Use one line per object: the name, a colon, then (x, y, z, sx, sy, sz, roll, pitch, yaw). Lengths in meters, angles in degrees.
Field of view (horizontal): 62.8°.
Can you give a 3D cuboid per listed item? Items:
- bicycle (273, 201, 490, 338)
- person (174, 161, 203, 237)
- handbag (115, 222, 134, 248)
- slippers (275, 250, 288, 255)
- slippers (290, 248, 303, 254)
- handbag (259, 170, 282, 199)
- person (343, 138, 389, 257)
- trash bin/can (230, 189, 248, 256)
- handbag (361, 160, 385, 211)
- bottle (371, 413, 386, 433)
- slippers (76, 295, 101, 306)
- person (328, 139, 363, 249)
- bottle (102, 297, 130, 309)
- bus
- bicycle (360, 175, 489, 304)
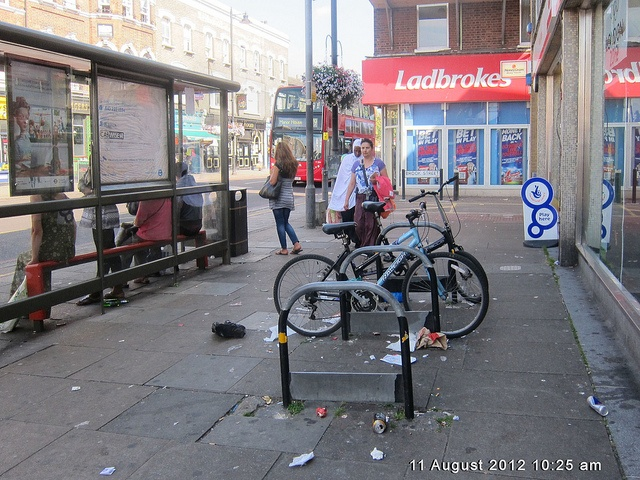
bicycle: (0.652, 0.363, 5.609, 2.275, 1.453, 1.137, -1, 16, 3)
person: (-2.172, -0.687, 8.715, 0.464, 1.223, 0.268, -6, 10, -27)
handbag: (-2.982, -0.065, 8.022, 0.261, 0.392, 0.149, 3, -7, 11)
slippers: (-0.747, 0.214, 10.126, 0.180, 0.079, 0.106, 4, 3, 22)
slippers: (-0.455, 0.211, 10.091, 0.082, 0.094, 0.220, -21, 18, -40)
handbag: (-0.947, -1.020, 9.880, 0.387, 0.495, 0.249, 0, 9, 9)
person: (0.732, -0.663, 8.260, 0.614, 1.838, 0.639, 1, 17, 10)
trash bin/can: (-1.535, -0.326, 9.887, 0.224, 1.267, 0.587, 3, 10, 24)
handbag: (0.791, -0.822, 8.056, 0.282, 0.523, 0.131, 6, 25, 45)
bottle: (0.438, 1.337, 3.839, 0.104, 0.072, 0.205, 0, 11, 8)
slippers: (-3.134, 0.812, 7.123, 0.337, 0.145, 0.128, 1, 5, -11)
person: (0.602, -0.956, 9.899, 0.767, 1.998, 0.611, -9, 37, -17)
bottle: (-2.769, 0.849, 7.088, 0.360, 0.161, 0.130, 5, -2, -29)
bus: (0.462, -5.981, 31.075, 2.979, 5.478, 10.129, 1, 8, 20)
bicycle: (1.160, -0.141, 6.257, 1.717, 1.158, 0.926, -7, 12, 40)
